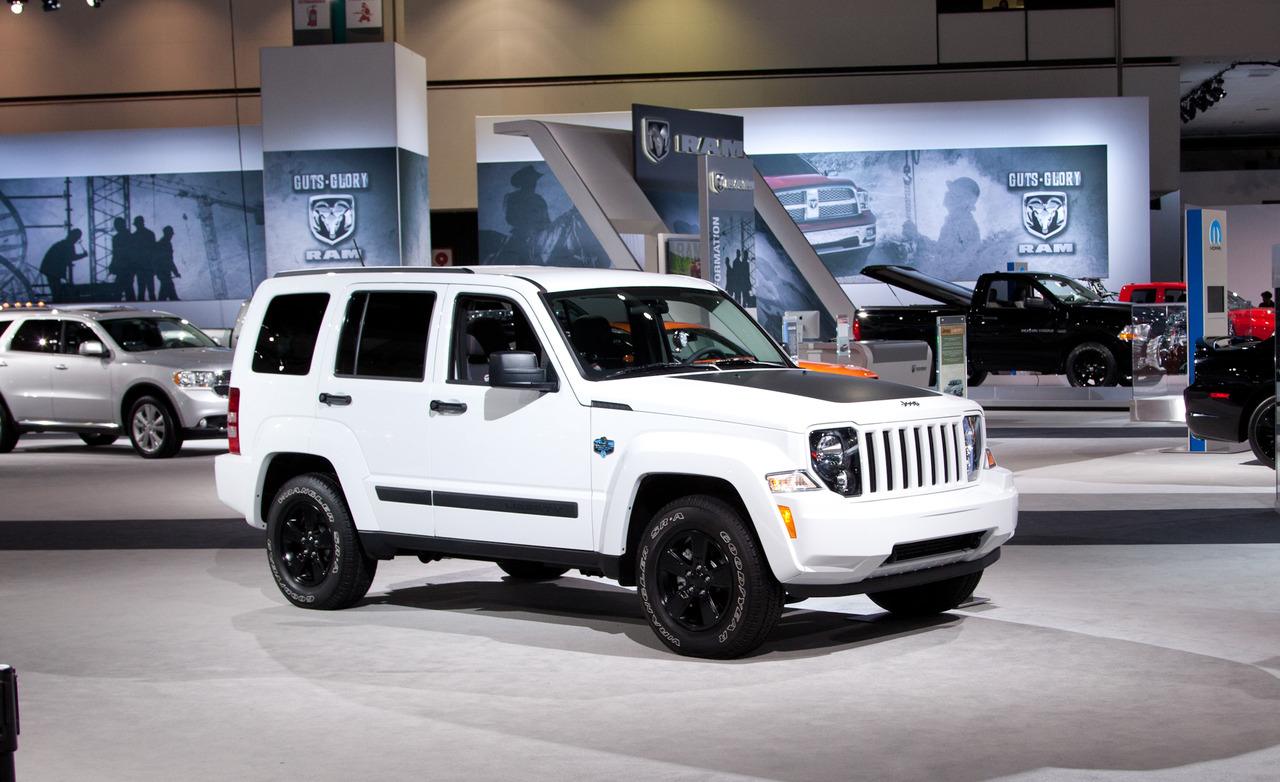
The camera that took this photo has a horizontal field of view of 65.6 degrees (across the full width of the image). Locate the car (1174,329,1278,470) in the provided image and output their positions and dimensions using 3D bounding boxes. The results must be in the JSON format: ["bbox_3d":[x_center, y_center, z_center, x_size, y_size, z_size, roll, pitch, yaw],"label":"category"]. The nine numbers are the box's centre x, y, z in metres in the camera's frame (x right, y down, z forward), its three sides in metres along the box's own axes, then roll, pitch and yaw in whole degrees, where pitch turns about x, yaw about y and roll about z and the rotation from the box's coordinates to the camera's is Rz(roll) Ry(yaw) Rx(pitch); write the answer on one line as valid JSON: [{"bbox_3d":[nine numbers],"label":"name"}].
[{"bbox_3d":[9.820,0.095,16.429,1.424,2.049,1.018,10,11,26],"label":"car"}]

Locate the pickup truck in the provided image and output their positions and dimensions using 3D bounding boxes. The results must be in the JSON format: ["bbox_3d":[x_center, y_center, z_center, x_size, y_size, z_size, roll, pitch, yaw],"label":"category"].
[{"bbox_3d":[11.918,-1.964,30.866,9.378,3.671,4.205,-1,1,22],"label":"pickup truck"}]
